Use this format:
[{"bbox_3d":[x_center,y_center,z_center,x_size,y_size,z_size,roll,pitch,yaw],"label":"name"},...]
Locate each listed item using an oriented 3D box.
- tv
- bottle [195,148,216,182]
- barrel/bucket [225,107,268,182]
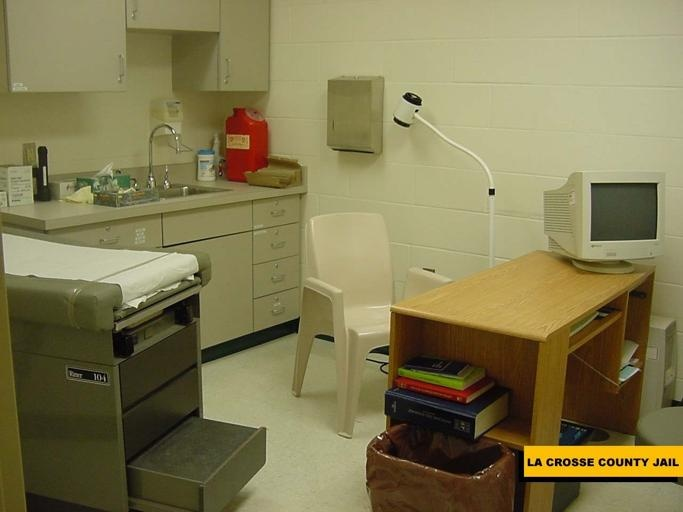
[{"bbox_3d":[1.301,-0.186,2.959,0.461,0.510,0.481,-2,7,-16],"label":"tv"},{"bbox_3d":[-0.976,-0.659,4.167,0.193,0.297,0.203,2,8,0],"label":"bottle"},{"bbox_3d":[-0.682,-0.810,4.182,0.300,0.515,0.183,-2,14,-11],"label":"barrel/bucket"}]
